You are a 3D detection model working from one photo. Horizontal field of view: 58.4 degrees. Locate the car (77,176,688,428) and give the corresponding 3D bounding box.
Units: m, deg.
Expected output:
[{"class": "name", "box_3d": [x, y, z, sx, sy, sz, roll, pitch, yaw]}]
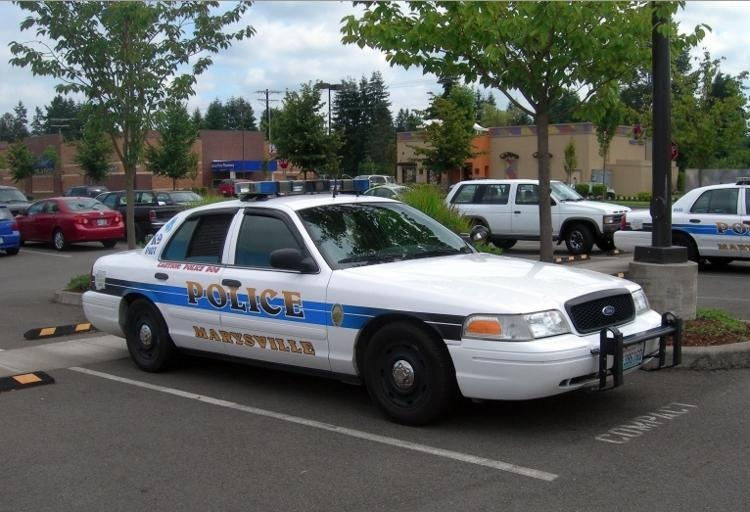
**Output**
[{"class": "car", "box_3d": [-0.214, 0.386, 7.241, 6.103, 2.358, 1.405, 2, 9, 24]}]
